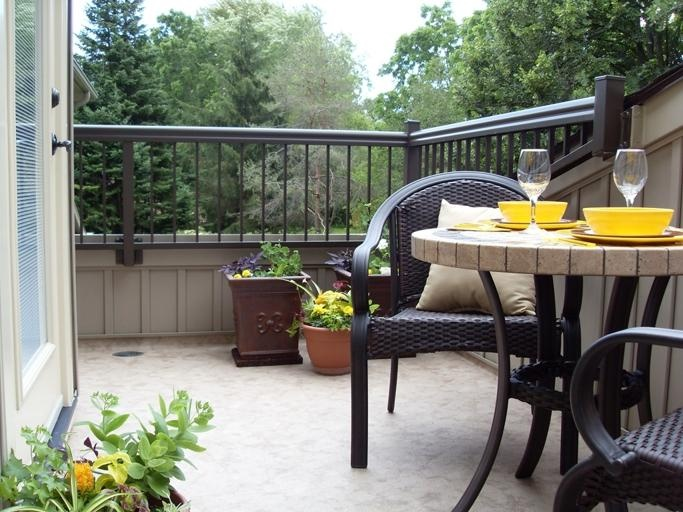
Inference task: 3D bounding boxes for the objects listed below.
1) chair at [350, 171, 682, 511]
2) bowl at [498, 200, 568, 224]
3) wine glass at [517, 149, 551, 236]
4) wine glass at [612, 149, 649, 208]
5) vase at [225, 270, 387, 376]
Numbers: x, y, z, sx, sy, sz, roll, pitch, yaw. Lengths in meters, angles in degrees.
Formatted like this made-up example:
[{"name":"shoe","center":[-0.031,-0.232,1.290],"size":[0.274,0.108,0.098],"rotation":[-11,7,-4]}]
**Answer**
[{"name":"chair","center":[0.392,0.156,1.700],"size":[0.981,0.819,1.039],"rotation":[0,2,0]},{"name":"bowl","center":[0.555,-0.132,1.599],"size":[0.108,0.039,0.110],"rotation":[-2,2,0]},{"name":"wine glass","center":[0.550,-0.195,1.551],"size":[0.084,0.240,0.269],"rotation":[3,7,19]},{"name":"wine glass","center":[0.780,-0.215,1.464],"size":[0.076,0.158,0.164],"rotation":[4,8,26]},{"name":"vase","center":[-0.221,0.334,2.985],"size":[0.737,0.473,0.511],"rotation":[-1,4,-13]}]
